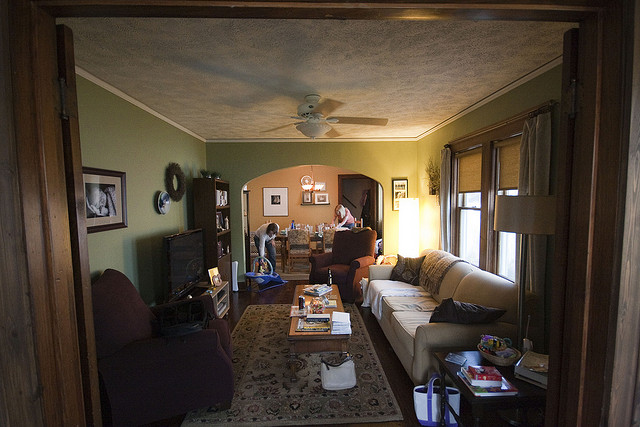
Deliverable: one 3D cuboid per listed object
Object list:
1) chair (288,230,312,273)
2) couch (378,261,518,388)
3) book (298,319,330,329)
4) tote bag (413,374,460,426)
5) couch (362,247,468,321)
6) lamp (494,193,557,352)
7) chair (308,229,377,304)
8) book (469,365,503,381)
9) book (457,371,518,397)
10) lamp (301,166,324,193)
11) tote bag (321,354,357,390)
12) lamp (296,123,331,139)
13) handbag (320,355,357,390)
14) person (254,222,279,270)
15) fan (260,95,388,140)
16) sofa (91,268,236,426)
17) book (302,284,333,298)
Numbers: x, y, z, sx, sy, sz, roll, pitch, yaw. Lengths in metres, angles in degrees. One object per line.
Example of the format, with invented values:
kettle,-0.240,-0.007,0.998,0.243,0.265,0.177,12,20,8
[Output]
chair,-0.370,0.652,7.834,0.518,0.736,0.538,-2,-2,23
couch,1.115,0.965,4.367,0.903,0.886,1.625,0,8,-8
book,-0.063,1.022,4.074,0.292,0.025,0.203,-3,9,1
tote bag,0.805,1.406,3.392,0.443,0.443,0.260,0,0,4
couch,1.048,0.877,4.992,0.869,0.794,1.586,-1,3,-8
lamp,1.553,0.448,3.380,0.306,1.191,0.383,-6,11,-16
chair,0.368,0.746,6.365,0.998,1.156,0.976,0,-8,29
book,1.074,1.045,2.881,0.121,0.028,0.120,1,2,-5
book,1.082,1.111,2.863,0.188,0.031,0.186,-1,8,-21
lamp,-0.163,-0.716,9.783,0.504,0.692,0.501,1,5,-1
tote bag,0.207,1.416,3.855,0.285,0.255,0.377,-12,-20,14
lamp,-0.061,-0.802,4.257,0.314,0.126,0.270,-3,9,-1
handbag,0.166,1.390,3.868,0.304,0.277,0.404,-4,-10,-5
person,-0.841,0.503,6.948,0.340,0.910,0.561,-3,37,-20
fan,-0.048,-0.914,4.341,0.596,0.216,0.591,3,-5,-35
sofa,-1.075,1.086,3.512,1.146,1.193,1.073,-3,9,-18
book,-0.062,0.890,5.013,0.285,0.062,0.345,1,10,24
